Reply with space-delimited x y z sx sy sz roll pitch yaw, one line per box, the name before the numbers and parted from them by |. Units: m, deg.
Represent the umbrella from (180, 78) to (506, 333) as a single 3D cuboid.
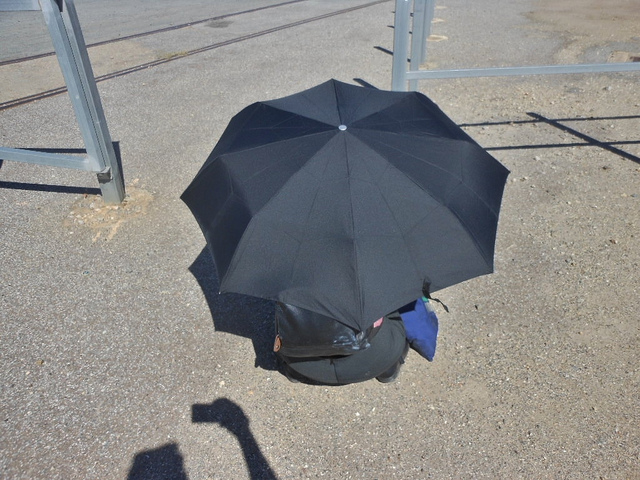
umbrella | 0.326 -0.256 5.778 3.131 1.639 2.629 -10 43 -7
